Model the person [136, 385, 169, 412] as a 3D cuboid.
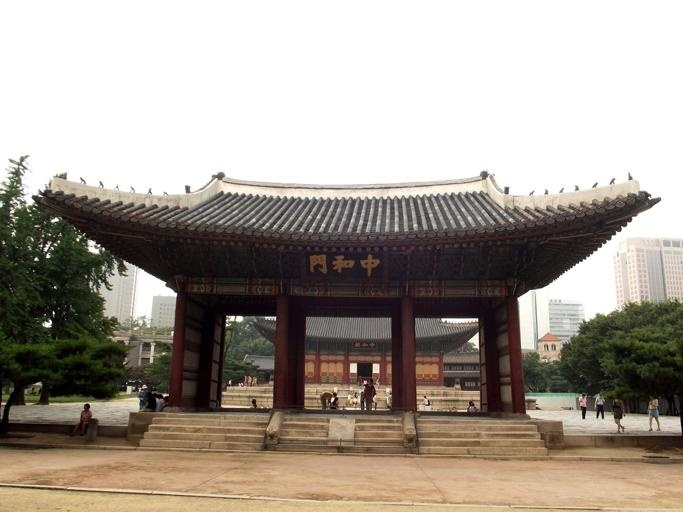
[{"bbox_3d":[-6.861,5.240,20.549,1.052,0.813,2.146,6,-17,-18],"label":"person"}]
